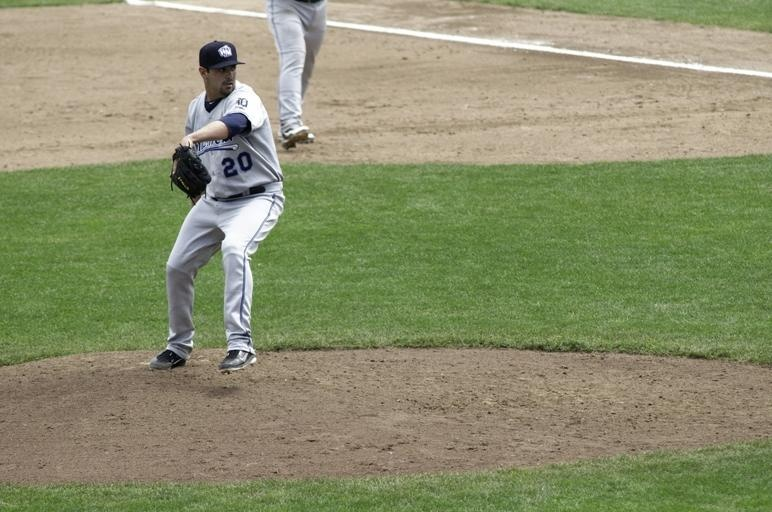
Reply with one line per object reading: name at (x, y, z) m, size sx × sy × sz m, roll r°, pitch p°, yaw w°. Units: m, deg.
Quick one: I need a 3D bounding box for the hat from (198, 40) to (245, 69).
hat at (-1.860, -2.319, 19.239) m, size 0.444 × 0.204 × 0.298 m, roll 2°, pitch 12°, yaw 20°

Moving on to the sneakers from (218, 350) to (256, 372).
sneakers at (-1.662, 1.163, 19.016) m, size 0.196 × 0.174 × 0.485 m, roll 3°, pitch 7°, yaw 36°

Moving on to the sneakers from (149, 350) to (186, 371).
sneakers at (-2.500, 1.196, 19.356) m, size 0.437 × 0.149 × 0.185 m, roll 3°, pitch 19°, yaw -20°

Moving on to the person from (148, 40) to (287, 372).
person at (-1.844, -0.557, 19.210) m, size 1.271 × 3.739 × 1.481 m, roll -6°, pitch 16°, yaw -35°

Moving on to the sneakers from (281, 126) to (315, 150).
sneakers at (-1.274, -1.735, 24.118) m, size 0.245 × 0.219 × 0.559 m, roll 15°, pitch -26°, yaw -42°
